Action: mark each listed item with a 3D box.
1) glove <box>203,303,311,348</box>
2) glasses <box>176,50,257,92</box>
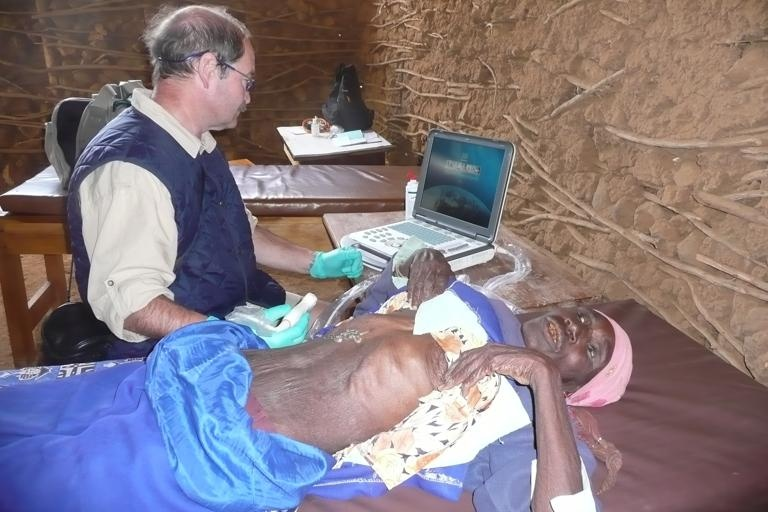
[{"bbox_3d":[-0.417,0.259,1.929,0.240,0.079,0.169,1,18,-27],"label":"glove"},{"bbox_3d":[-0.592,-0.718,1.934,0.142,0.136,0.040,18,54,23],"label":"glasses"}]
